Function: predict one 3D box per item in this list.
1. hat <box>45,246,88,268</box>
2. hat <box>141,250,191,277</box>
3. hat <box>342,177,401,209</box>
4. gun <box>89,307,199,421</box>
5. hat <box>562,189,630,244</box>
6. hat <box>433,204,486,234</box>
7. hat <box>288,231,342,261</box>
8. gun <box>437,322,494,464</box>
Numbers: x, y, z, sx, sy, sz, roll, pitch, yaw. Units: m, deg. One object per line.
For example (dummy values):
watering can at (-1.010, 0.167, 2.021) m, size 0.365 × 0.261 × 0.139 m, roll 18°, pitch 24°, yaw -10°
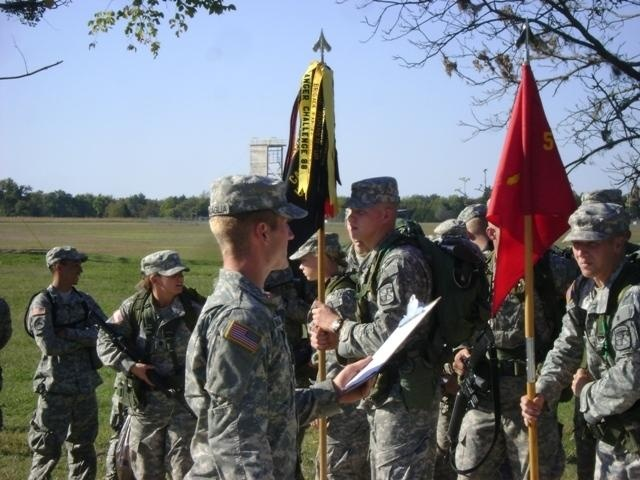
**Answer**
hat at (-3.337, 0.203, 12.717) m, size 0.410 × 0.203 × 0.286 m, roll -4°, pitch 2°, yaw -19°
hat at (-1.843, 0.278, 11.273) m, size 0.400 × 0.186 × 0.308 m, roll 1°, pitch 1°, yaw 20°
hat at (0.519, -0.498, 10.412) m, size 0.645 × 0.348 × 0.467 m, roll -4°, pitch -3°, yaw -24°
gun at (-1.958, 1.382, 10.941) m, size 0.594 × 1.602 × 0.328 m, roll -36°, pitch -9°, yaw 24°
hat at (2.778, -0.214, 9.769) m, size 0.870 × 0.588 × 0.591 m, roll -3°, pitch 0°, yaw -34°
hat at (1.810, -0.282, 12.407) m, size 0.513 × 0.301 × 0.404 m, roll -18°, pitch -3°, yaw 26°
hat at (0.013, 0.090, 11.652) m, size 0.468 × 0.273 × 0.345 m, roll 2°, pitch -5°, yaw -20°
gun at (1.613, 1.651, 10.556) m, size 0.259 × 1.734 × 0.642 m, roll 3°, pitch 4°, yaw -42°
